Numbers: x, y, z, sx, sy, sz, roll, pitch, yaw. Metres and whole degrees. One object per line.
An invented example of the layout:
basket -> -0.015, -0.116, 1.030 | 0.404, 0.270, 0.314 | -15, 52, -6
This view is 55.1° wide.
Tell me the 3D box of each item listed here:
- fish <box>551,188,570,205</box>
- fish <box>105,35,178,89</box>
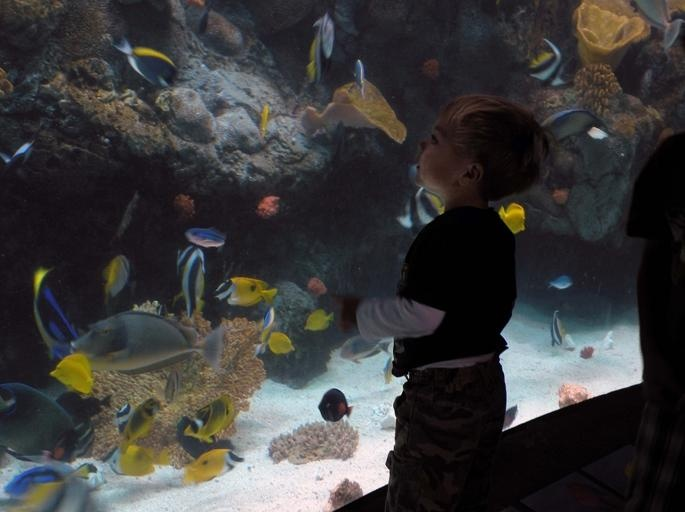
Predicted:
fish -> 4.948, -1.356, 14.866 | 0.328, 0.325, 0.086 | -34, -27, 34
fish -> -3.063, -2.976, 10.211 | 0.636, 0.325, 1.244 | -20, -27, 26
